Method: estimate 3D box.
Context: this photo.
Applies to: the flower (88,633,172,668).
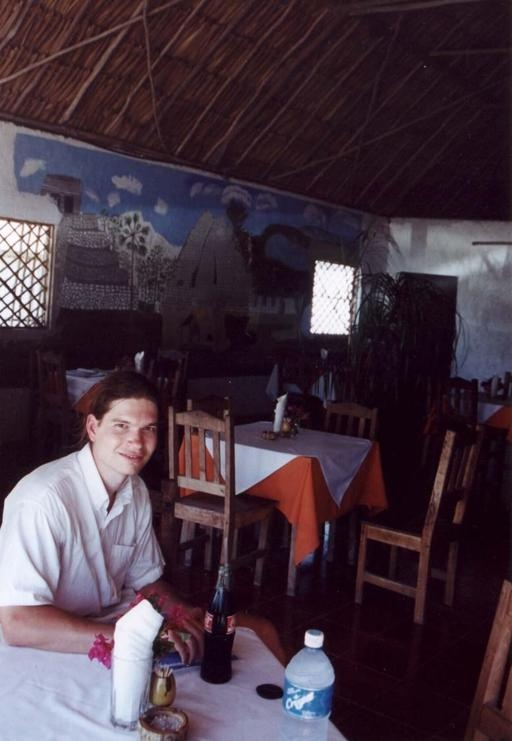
[{"bbox_3d":[-0.179,0.393,0.807,0.087,0.037,0.089,-7,-23,27],"label":"flower"}]
